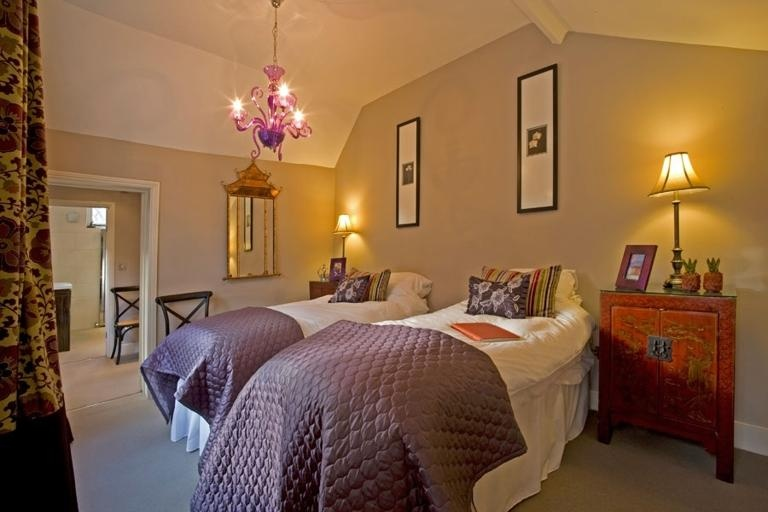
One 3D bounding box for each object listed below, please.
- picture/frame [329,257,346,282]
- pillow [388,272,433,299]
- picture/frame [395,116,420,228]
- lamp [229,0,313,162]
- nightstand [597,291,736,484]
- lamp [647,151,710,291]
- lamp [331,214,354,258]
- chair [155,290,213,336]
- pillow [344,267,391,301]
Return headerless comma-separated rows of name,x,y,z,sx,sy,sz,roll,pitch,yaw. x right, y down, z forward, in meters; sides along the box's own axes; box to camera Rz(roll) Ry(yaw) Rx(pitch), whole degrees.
picture/frame,-0.579,0.196,6.339,0.246,0.359,0.035,-6,-16,23
pillow,0.304,0.308,5.628,0.322,0.174,0.337,-8,4,-40
picture/frame,0.290,-0.964,5.926,0.057,1.247,0.363,0,0,-45
lamp,-1.115,-1.550,5.026,0.813,1.501,1.777,0,-1,-17
nightstand,2.270,1.125,4.153,0.936,1.345,0.774,4,-32,27
lamp,2.414,-0.291,4.121,0.408,1.121,0.309,0,0,31
lamp,-0.564,-0.253,6.673,0.194,0.555,0.422,0,0,-37
chair,-2.218,0.630,5.681,0.449,0.708,0.472,-4,-4,41
pillow,-0.165,0.333,5.516,0.110,0.247,0.303,37,-28,-30
